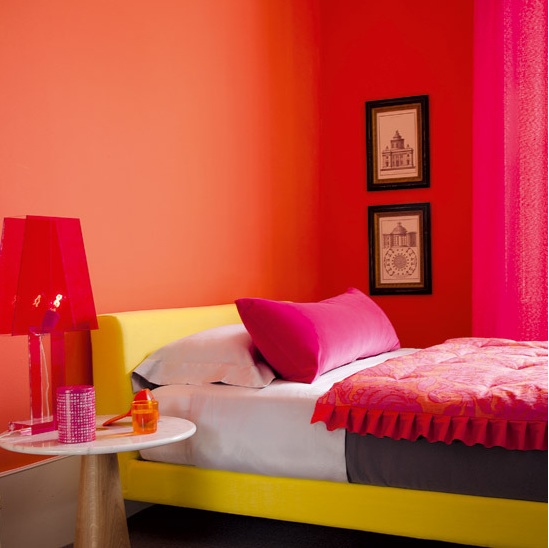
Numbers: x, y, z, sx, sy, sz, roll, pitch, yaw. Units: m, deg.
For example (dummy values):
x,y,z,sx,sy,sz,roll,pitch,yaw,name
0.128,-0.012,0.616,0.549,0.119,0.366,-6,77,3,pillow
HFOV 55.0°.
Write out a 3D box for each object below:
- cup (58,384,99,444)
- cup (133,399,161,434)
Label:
x,y,z,sx,sy,sz,roll,pitch,yaw,name
-0.498,0.358,1.355,0.110,0.128,0.112,-1,-3,0,cup
-0.345,0.384,1.409,0.057,0.081,0.085,-3,-4,43,cup
